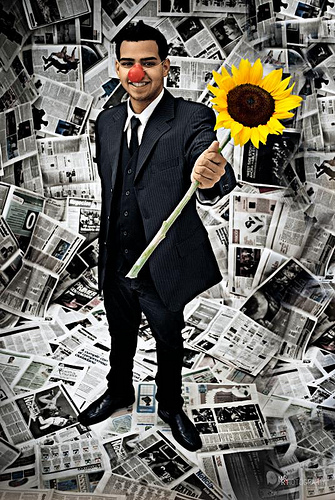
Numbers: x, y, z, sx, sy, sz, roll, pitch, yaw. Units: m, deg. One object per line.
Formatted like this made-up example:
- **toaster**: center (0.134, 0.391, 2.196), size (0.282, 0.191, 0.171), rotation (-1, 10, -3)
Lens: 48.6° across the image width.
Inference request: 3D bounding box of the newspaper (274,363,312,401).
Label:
- **newspaper**: center (0.493, 0.527, 1.490), size (0.128, 0.216, 0.002), rotation (-12, 15, 21)

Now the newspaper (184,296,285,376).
- **newspaper**: center (0.280, 0.386, 1.672), size (0.354, 0.240, 0.073), rotation (27, -36, 22)

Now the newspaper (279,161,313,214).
- **newspaper**: center (0.585, -0.303, 1.738), size (0.149, 0.295, 0.013), rotation (-6, -26, 4)

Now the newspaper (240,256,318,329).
- **newspaper**: center (0.531, 0.219, 1.769), size (0.617, 0.358, 0.024), rotation (24, 4, -42)

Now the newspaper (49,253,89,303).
- **newspaper**: center (-0.503, 0.134, 1.884), size (0.054, 0.214, 0.226), rotation (33, -4, 14)

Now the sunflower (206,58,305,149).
- **sunflower**: center (0.099, -0.175, 0.438), size (0.097, 0.029, 0.097), rotation (24, -5, 10)

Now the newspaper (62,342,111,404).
- **newspaper**: center (-0.326, 0.493, 1.464), size (0.244, 0.217, 0.003), rotation (-30, 34, 6)

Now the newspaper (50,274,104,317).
- **newspaper**: center (-0.449, 0.230, 1.798), size (0.278, 0.254, 0.014), rotation (16, -43, 7)

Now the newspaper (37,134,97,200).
- **newspaper**: center (-0.503, -0.427, 1.793), size (0.290, 0.013, 0.314), rotation (-13, -32, -21)
